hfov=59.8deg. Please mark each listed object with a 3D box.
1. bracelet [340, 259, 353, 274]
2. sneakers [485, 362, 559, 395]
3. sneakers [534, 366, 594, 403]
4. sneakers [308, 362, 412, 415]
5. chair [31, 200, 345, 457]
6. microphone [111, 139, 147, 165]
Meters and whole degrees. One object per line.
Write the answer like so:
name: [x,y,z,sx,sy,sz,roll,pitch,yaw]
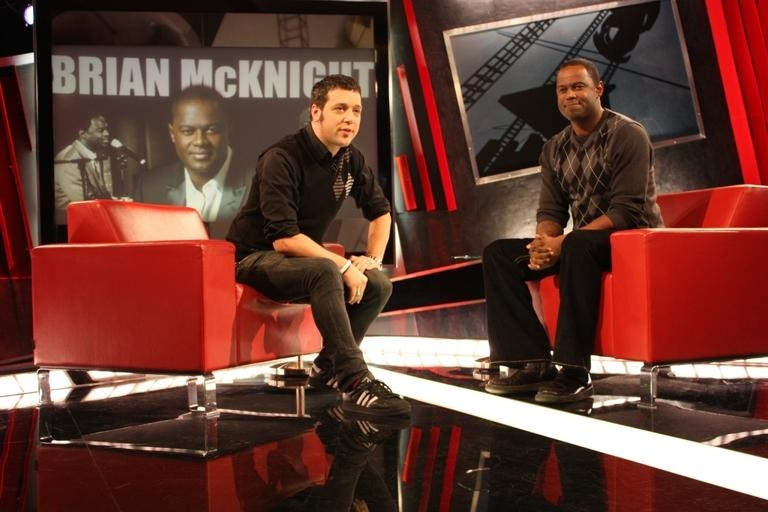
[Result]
bracelet: [-0.189,0.054,3.237,0.022,0.057,0.052,35,-23,-9]
sneakers: [0.700,0.611,3.348,0.442,0.169,0.140,-1,1,-19]
sneakers: [0.866,0.618,3.160,0.311,0.181,0.124,2,-7,-27]
sneakers: [-0.159,0.624,3.203,0.535,0.193,0.177,6,11,32]
chair: [-1.026,0.341,3.671,1.092,1.125,1.363,-1,-4,14]
microphone: [-1.822,-0.745,4.741,0.221,0.056,0.058,37,19,-8]
